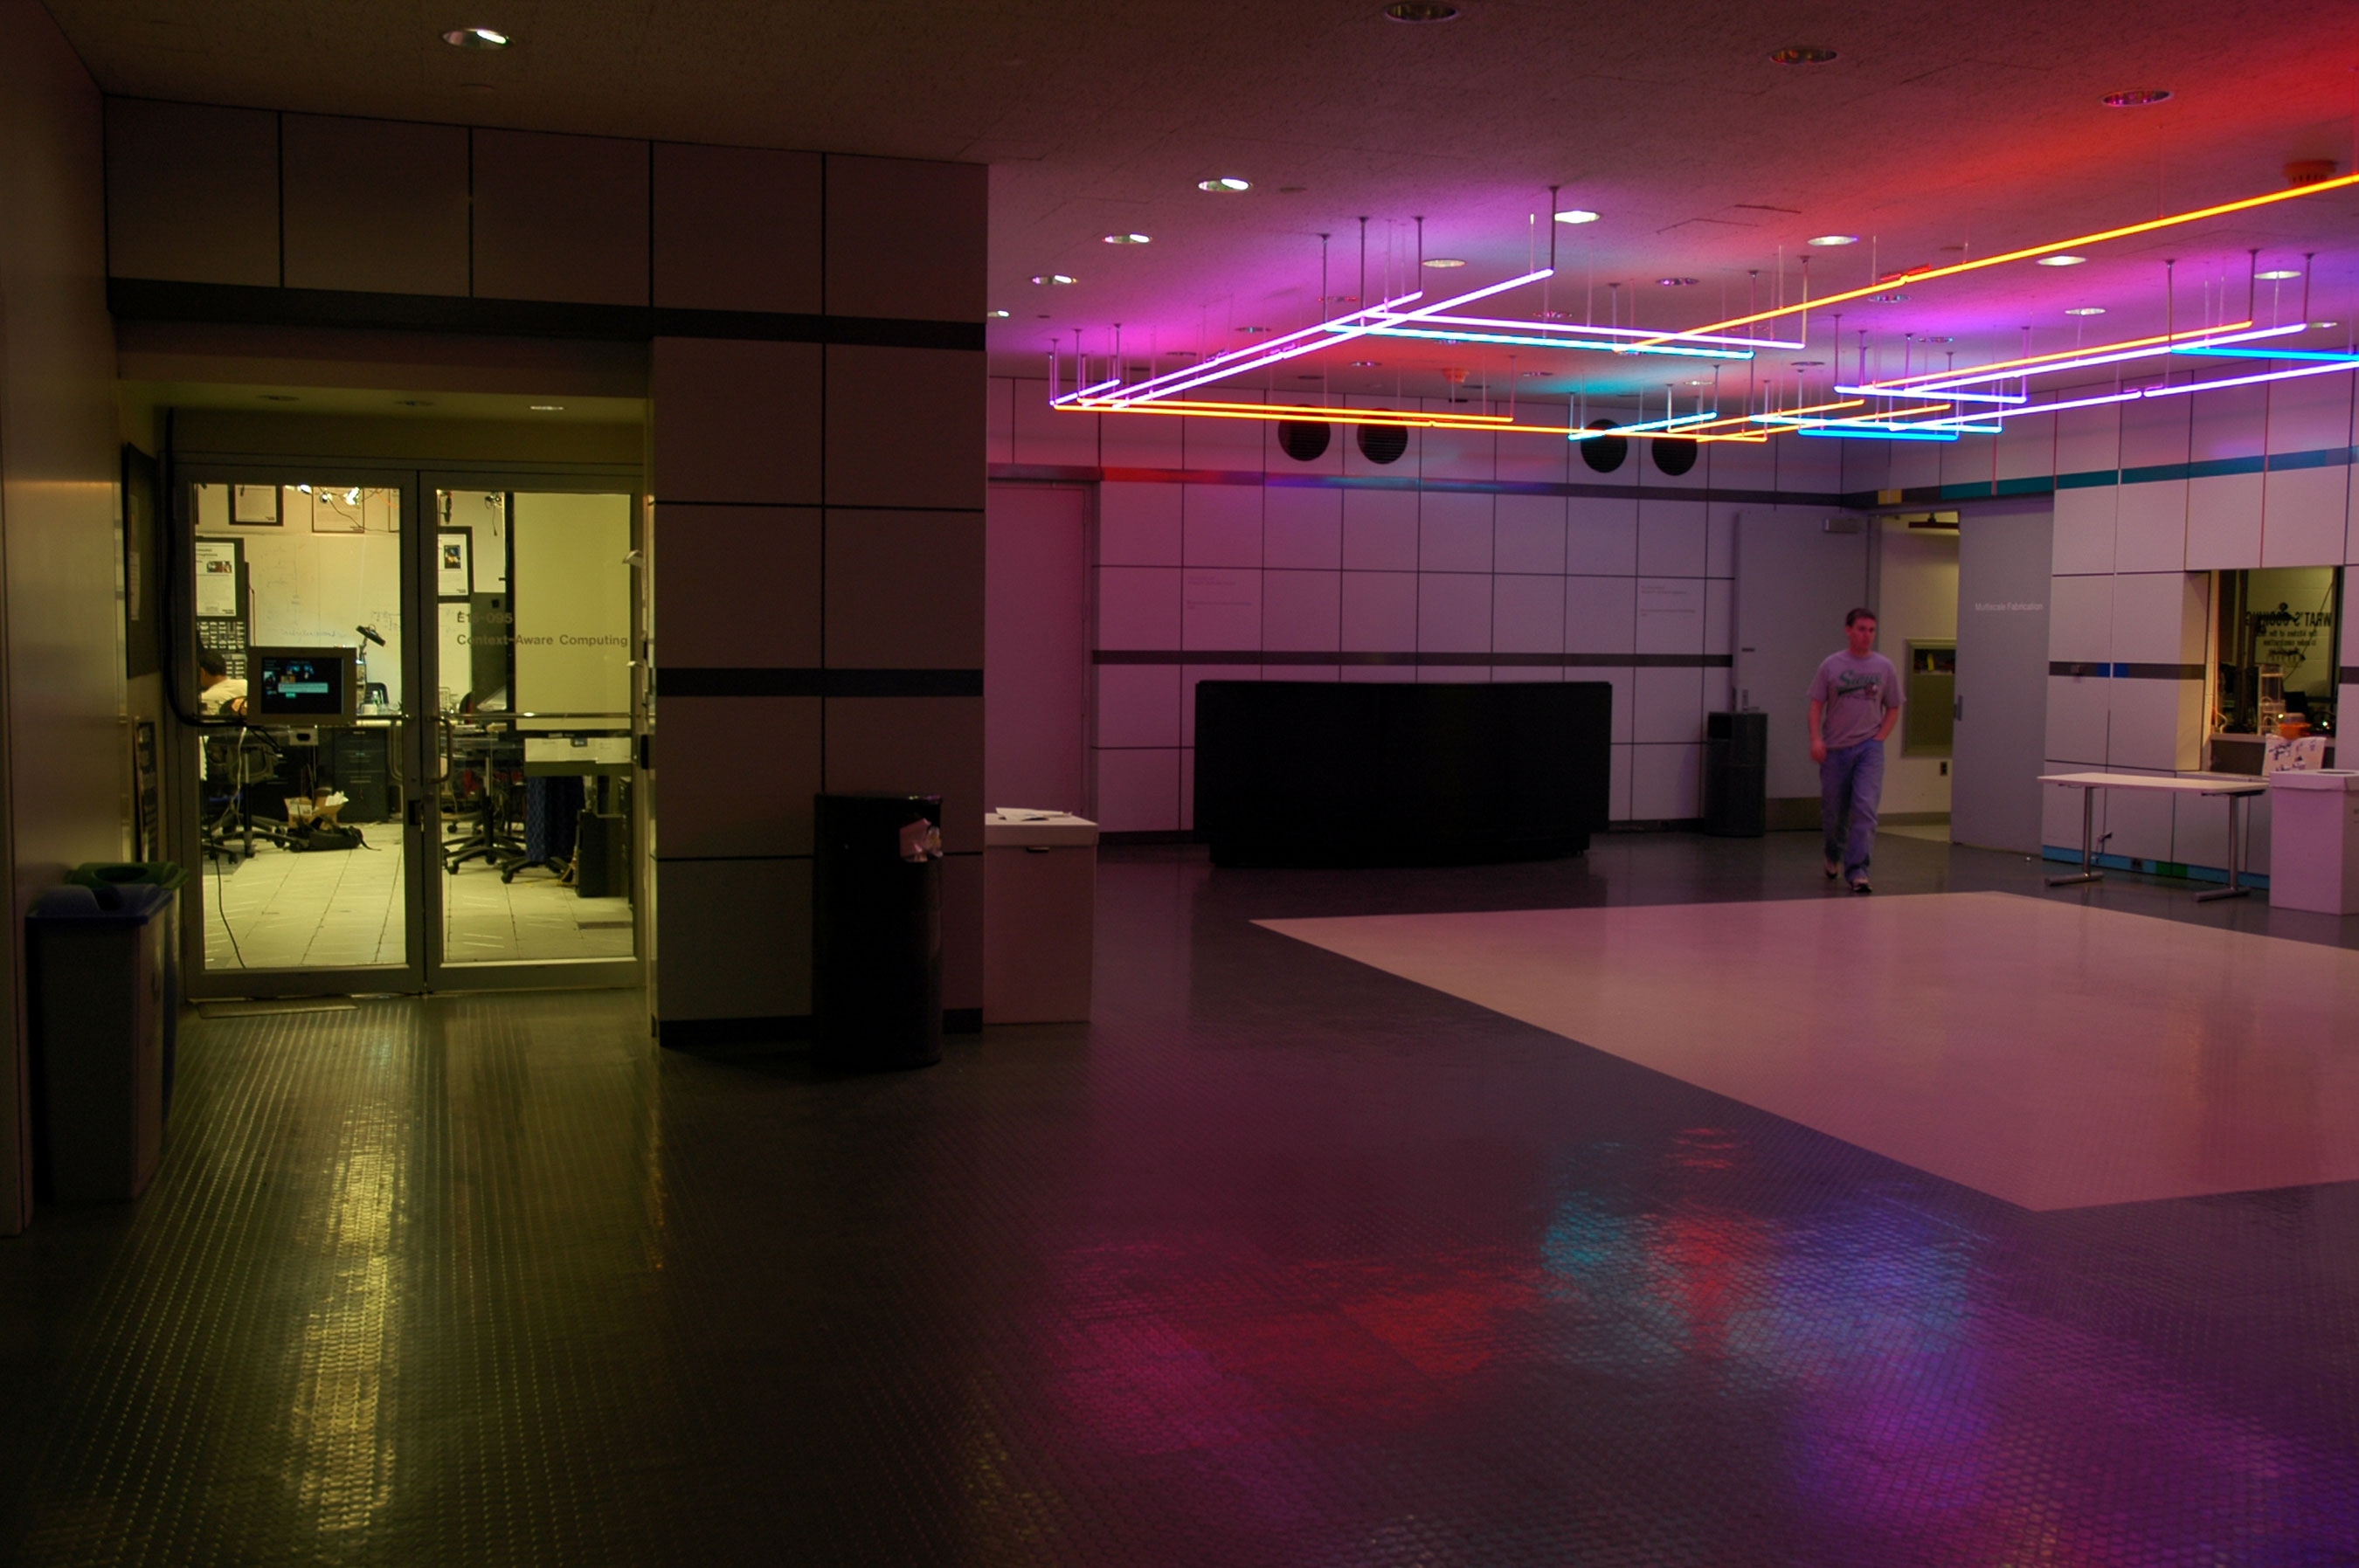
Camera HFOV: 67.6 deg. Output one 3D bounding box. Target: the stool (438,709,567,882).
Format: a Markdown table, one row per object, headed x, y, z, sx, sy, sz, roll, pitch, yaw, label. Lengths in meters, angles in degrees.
| x | y | z | sx | sy | sz | roll | pitch | yaw | label |
| --- | --- | --- | --- | --- | --- | --- | --- | --- | --- |
| -3.803 | 0.052 | 9.961 | 0.639 | 0.958 | 0.283 | -2 | 13 | -9 | stool |

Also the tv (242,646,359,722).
| x | y | z | sx | sy | sz | roll | pitch | yaw | label |
| --- | --- | --- | --- | --- | --- | --- | --- | --- | --- |
| -4.808 | -0.557 | 9.733 | 0.661 | 0.544 | 0.355 | 0 | 7 | -19 | tv |

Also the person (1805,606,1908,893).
| x | y | z | sx | sy | sz | roll | pitch | yaw | label |
| --- | --- | --- | --- | --- | --- | --- | --- | --- | --- |
| 5.271 | -0.244 | 13.919 | 0.620 | 2.242 | 1.055 | 5 | 14 | 22 | person |

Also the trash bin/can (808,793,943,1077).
| x | y | z | sx | sy | sz | roll | pitch | yaw | label |
| --- | --- | --- | --- | --- | --- | --- | --- | --- | --- |
| -1.487 | 0.731 | 8.716 | 0.626 | 1.306 | 0.397 | -3 | 13 | -12 | trash bin/can |

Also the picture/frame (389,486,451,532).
| x | y | z | sx | sy | sz | roll | pitch | yaw | label |
| --- | --- | --- | --- | --- | --- | --- | --- | --- | --- |
| -4.227 | -1.530 | 9.804 | 0.263 | 0.247 | 0.062 | 3 | 2 | -16 | picture/frame |

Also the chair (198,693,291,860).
| x | y | z | sx | sy | sz | roll | pitch | yaw | label |
| --- | --- | --- | --- | --- | --- | --- | --- | --- | --- |
| -5.110 | -0.071 | 9.652 | 0.407 | 0.958 | 0.235 | -1 | 13 | -4 | chair |

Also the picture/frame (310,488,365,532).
| x | y | z | sx | sy | sz | roll | pitch | yaw | label |
| --- | --- | --- | --- | --- | --- | --- | --- | --- | --- |
| -4.644 | -1.513 | 9.728 | 0.246 | 0.219 | 0.127 | 1 | -1 | -19 | picture/frame |

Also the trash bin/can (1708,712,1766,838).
| x | y | z | sx | sy | sz | roll | pitch | yaw | label |
| --- | --- | --- | --- | --- | --- | --- | --- | --- | --- |
| 5.482 | -0.102 | 17.565 | 0.562 | 1.204 | 0.450 | 6 | 14 | 25 | trash bin/can |

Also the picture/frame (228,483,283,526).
| x | y | z | sx | sy | sz | roll | pitch | yaw | label |
| --- | --- | --- | --- | --- | --- | --- | --- | --- | --- |
| -5.041 | -1.528 | 9.625 | 0.241 | 0.259 | 0.028 | -1 | 0 | -24 | picture/frame |

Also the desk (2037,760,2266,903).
| x | y | z | sx | sy | sz | roll | pitch | yaw | label |
| --- | --- | --- | --- | --- | --- | --- | --- | --- | --- |
| 7.750 | 0.388 | 13.938 | 1.358 | 0.848 | 0.719 | 4 | -3 | 13 | desk |
